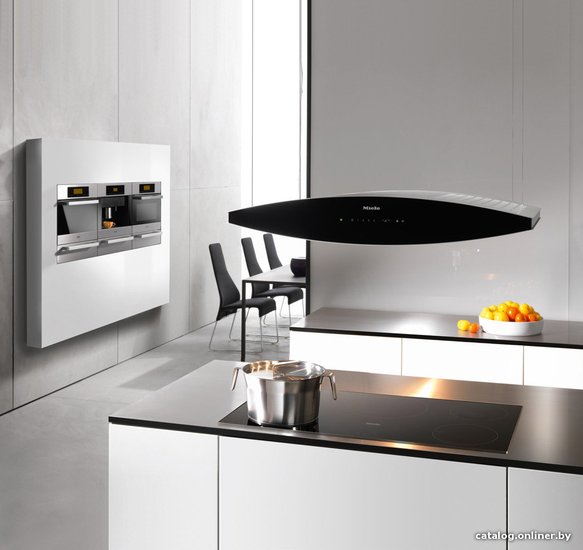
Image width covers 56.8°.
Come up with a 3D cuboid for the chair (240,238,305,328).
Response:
[{"bbox_3d":[-0.251,0.112,7.576,0.733,1.307,0.662,-2,6,14],"label":"chair"}]

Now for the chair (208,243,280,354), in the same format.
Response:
[{"bbox_3d":[-0.631,0.262,6.824,0.647,1.313,0.670,-1,7,15],"label":"chair"}]

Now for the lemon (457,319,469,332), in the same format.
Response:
[{"bbox_3d":[1.123,0.329,3.527,0.056,0.023,0.069,-1,45,20],"label":"lemon"}]

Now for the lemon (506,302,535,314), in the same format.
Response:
[{"bbox_3d":[1.455,0.217,3.462,0.094,0.048,0.107,2,3,12],"label":"lemon"}]

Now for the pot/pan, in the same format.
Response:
[{"bbox_3d":[-0.011,0.393,1.856,0.300,0.176,0.350,-2,4,-7],"label":"pot/pan"}]

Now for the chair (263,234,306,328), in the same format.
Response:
[{"bbox_3d":[-0.179,0.120,8.098,0.725,1.408,0.674,14,15,30],"label":"chair"}]

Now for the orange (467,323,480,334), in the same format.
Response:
[{"bbox_3d":[1.181,0.341,3.506,0.053,0.062,0.060,14,27,4],"label":"orange"}]

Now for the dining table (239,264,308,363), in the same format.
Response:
[{"bbox_3d":[-0.132,0.284,6.634,0.420,0.647,1.190,16,21,25],"label":"dining table"}]
